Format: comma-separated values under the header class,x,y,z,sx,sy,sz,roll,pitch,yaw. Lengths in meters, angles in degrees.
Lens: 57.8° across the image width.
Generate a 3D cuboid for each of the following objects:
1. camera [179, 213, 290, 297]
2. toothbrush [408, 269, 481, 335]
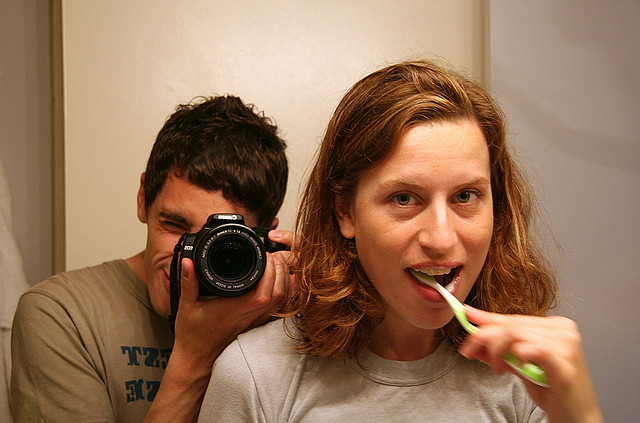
class,x,y,z,sx,sy,sz,roll,pitch,yaw
camera,-0.249,0.120,1.704,0.331,0.203,0.230,4,-3,-15
toothbrush,0.305,0.207,1.503,0.038,0.067,0.268,4,35,-51
